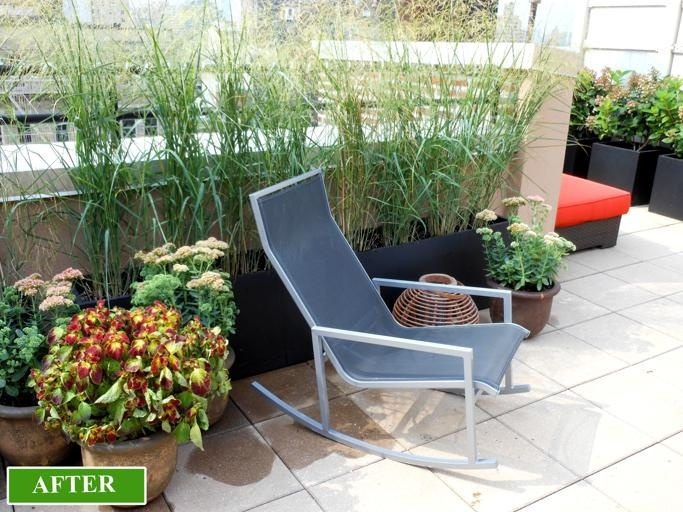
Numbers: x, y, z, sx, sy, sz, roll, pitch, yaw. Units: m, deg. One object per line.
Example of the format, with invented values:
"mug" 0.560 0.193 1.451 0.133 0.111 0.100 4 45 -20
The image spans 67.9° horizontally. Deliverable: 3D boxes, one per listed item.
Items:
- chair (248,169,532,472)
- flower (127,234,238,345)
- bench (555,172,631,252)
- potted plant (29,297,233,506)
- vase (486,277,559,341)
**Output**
"chair" 0.139 0.107 3.221 1.811 1.731 1.089 10 24 24
"flower" -0.736 0.133 2.685 0.559 0.575 0.509 -5 -3 -7
"bench" 2.291 -0.426 4.855 0.755 0.520 0.751 -21 33 -31
"potted plant" -0.896 0.537 2.436 0.791 0.825 0.808 -1 12 -7
"vase" 1.243 0.342 3.583 0.434 0.347 0.432 -10 19 -27
